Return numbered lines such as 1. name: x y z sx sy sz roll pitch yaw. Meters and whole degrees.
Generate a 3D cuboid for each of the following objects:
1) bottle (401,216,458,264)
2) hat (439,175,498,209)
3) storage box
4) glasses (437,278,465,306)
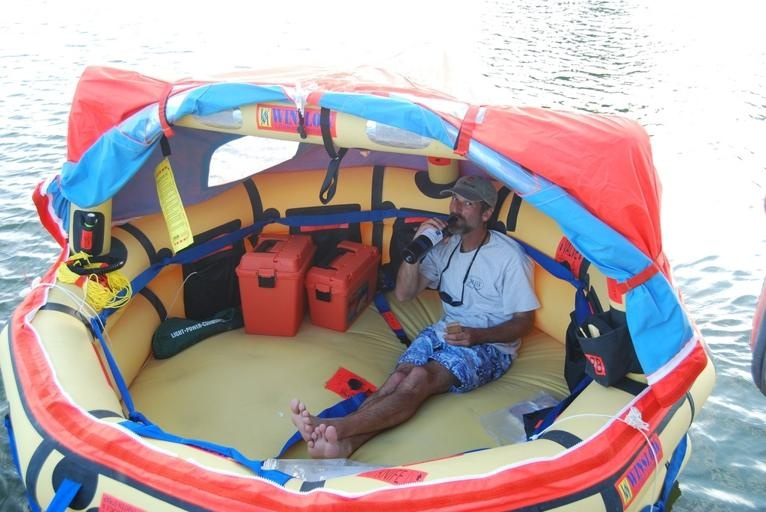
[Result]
1. bottle: 0.358 -0.121 4.401 0.170 0.174 0.668 -20 15 45
2. hat: 0.599 -0.459 4.236 0.312 0.155 0.223 20 1 -25
3. storage box: -0.576 0.185 4.628 0.930 0.566 0.695 2 30 -8
4. glasses: 0.498 0.272 4.393 0.145 0.191 0.068 18 -4 40
